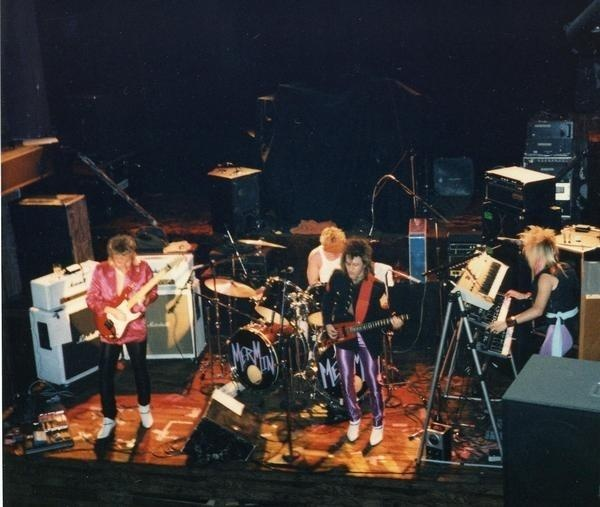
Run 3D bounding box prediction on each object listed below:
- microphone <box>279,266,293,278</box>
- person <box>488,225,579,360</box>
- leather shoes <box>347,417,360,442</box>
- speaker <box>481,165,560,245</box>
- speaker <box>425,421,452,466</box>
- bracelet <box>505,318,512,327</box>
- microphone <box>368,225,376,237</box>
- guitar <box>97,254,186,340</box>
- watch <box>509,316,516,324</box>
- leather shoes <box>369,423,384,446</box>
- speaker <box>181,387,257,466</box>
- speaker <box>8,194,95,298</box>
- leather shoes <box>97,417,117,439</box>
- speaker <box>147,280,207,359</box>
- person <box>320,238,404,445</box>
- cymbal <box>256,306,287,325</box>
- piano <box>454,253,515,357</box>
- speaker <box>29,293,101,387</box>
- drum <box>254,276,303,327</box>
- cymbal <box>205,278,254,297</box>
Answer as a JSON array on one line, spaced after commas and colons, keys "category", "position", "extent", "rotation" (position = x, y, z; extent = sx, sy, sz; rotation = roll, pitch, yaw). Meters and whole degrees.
[{"category": "microphone", "position": [-0.131, 0.178, 5.985], "extent": [0.107, 0.078, 0.218], "rotation": [-27, -9, 14]}, {"category": "person", "position": [2.041, 0.367, 5.433], "extent": [0.622, 1.441, 0.665], "rotation": [7, 30, 29]}, {"category": "leather shoes", "position": [0.471, 1.563, 5.591], "extent": [0.085, 0.214, 0.085], "rotation": [8, 2, 33]}, {"category": "speaker", "position": [2.195, -0.591, 6.473], "extent": [0.660, 0.927, 0.814], "rotation": [-13, 20, -24]}, {"category": "speaker", "position": [1.144, 1.560, 5.188], "extent": [0.208, 0.298, 0.134], "rotation": [2, 5, 10]}, {"category": "bracelet", "position": [1.708, 0.557, 5.110], "extent": [0.043, 0.062, 0.022], "rotation": [-2, -16, 24]}, {"category": "microphone", "position": [0.925, -0.285, 8.112], "extent": [0.086, 0.140, 0.065], "rotation": [-1, 4, 7]}, {"category": "guitar", "position": [-1.471, 0.446, 5.488], "extent": [0.596, 0.627, 0.149], "rotation": [-1, 5, -24]}, {"category": "watch", "position": [1.746, 0.552, 5.132], "extent": [0.056, 0.069, 0.084], "rotation": [3, 5, 26]}, {"category": "leather shoes", "position": [0.680, 1.567, 5.510], "extent": [0.078, 0.089, 0.220], "rotation": [4, 30, 20]}, {"category": "speaker", "position": [-0.652, 1.520, 5.587], "extent": [0.557, 0.563, 0.620], "rotation": [-3, 16, 9]}, {"category": "speaker", "position": [-3.016, -0.173, 7.602], "extent": [0.701, 1.096, 0.590], "rotation": [1, 5, 5]}, {"category": "leather shoes", "position": [-1.778, 1.576, 5.741], "extent": [0.104, 0.118, 0.253], "rotation": [3, 22, 6]}, {"category": "speaker", "position": [-1.499, 0.659, 7.155], "extent": [0.650, 1.008, 0.591], "rotation": [-1, 27, -9]}, {"category": "person", "position": [0.567, 0.832, 5.315], "extent": [0.823, 1.860, 0.568], "rotation": [8, 21, 26]}, {"category": "cymbal", "position": [-0.280, 0.559, 6.148], "extent": [0.216, 0.055, 0.229], "rotation": [21, -22, 16]}, {"category": "piano", "position": [1.597, 0.423, 5.351], "extent": [0.316, 0.730, 0.785], "rotation": [-5, 22, 17]}, {"category": "speaker", "position": [-2.486, 0.946, 6.738], "extent": [0.462, 0.783, 0.714], "rotation": [-1, 8, 20]}, {"category": "drum", "position": [-0.167, 0.442, 5.812], "extent": [0.400, 0.500, 1.050], "rotation": [0, 5, -9]}, {"category": "cymbal", "position": [-0.670, 0.325, 6.071], "extent": [0.579, 0.175, 0.319], "rotation": [3, 5, 29]}]
